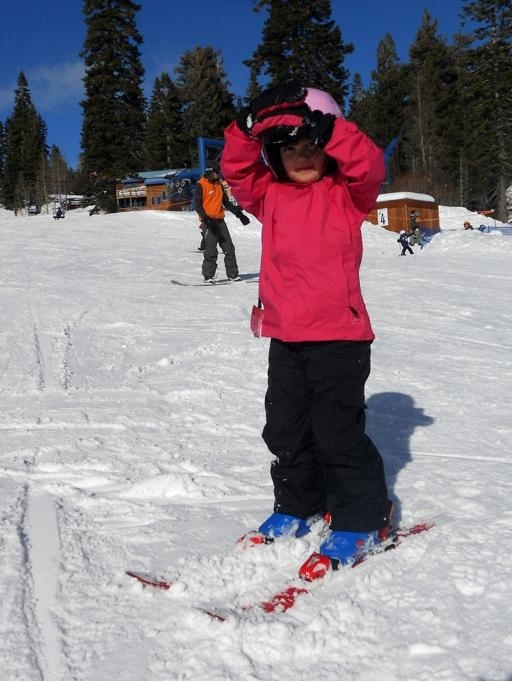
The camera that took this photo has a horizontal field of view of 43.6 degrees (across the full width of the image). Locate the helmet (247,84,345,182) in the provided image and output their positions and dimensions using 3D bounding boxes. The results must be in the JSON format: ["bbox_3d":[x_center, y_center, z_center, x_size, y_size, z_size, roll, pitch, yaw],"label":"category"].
[{"bbox_3d":[0.196,-0.713,2.157,0.370,0.249,0.273,-10,1,-41],"label":"helmet"}]

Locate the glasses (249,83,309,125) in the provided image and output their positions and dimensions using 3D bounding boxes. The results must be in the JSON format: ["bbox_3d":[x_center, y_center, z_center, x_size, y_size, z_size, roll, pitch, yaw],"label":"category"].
[{"bbox_3d":[0.081,-0.755,2.085,0.172,0.055,0.117,-15,38,5],"label":"glasses"}]

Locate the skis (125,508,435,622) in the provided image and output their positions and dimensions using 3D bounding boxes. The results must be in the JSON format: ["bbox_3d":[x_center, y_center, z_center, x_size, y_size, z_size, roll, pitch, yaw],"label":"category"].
[{"bbox_3d":[0.200,0.683,1.934,0.308,0.056,0.590,2,3,44],"label":"skis"}]

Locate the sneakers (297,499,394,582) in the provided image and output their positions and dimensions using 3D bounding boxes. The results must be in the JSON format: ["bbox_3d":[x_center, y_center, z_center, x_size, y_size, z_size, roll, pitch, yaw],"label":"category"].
[{"bbox_3d":[0.274,0.627,2.000,0.386,0.138,0.112,-13,-6,-39],"label":"sneakers"}]
